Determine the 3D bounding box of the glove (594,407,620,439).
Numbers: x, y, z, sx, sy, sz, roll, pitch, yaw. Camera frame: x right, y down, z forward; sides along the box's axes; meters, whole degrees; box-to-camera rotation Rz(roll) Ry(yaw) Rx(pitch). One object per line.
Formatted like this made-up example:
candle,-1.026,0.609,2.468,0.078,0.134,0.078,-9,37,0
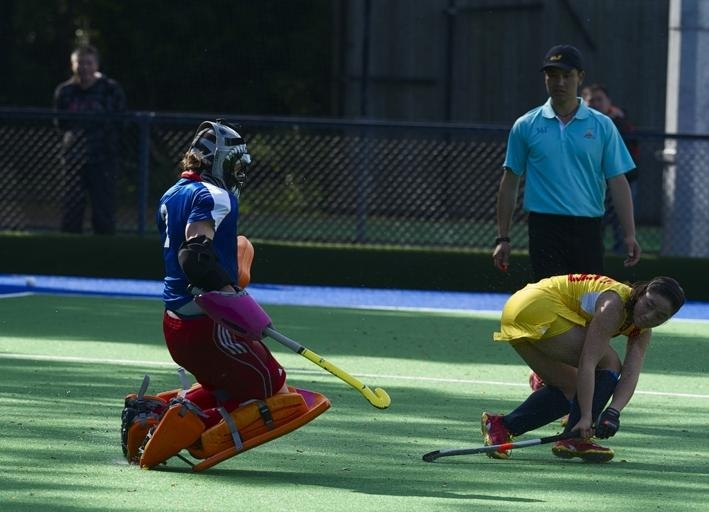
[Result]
glove,1.604,1.054,8.432,0.140,0.201,0.183,4,10,17

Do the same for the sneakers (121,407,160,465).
sneakers,-1.342,1.104,8.213,0.220,0.315,0.119,3,10,-12

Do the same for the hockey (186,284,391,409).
hockey,-0.363,0.562,8.165,1.448,0.248,0.230,30,-13,17

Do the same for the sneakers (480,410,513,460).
sneakers,0.912,1.139,8.552,0.155,0.348,0.123,-17,-13,4

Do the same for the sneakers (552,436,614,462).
sneakers,1.449,1.238,8.475,0.393,0.194,0.150,4,-22,10

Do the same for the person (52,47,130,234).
person,-2.844,-1.255,14.370,0.739,1.969,0.653,-1,10,-12

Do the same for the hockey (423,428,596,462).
hockey,1.005,1.225,8.554,0.846,0.103,0.105,-6,20,-4
